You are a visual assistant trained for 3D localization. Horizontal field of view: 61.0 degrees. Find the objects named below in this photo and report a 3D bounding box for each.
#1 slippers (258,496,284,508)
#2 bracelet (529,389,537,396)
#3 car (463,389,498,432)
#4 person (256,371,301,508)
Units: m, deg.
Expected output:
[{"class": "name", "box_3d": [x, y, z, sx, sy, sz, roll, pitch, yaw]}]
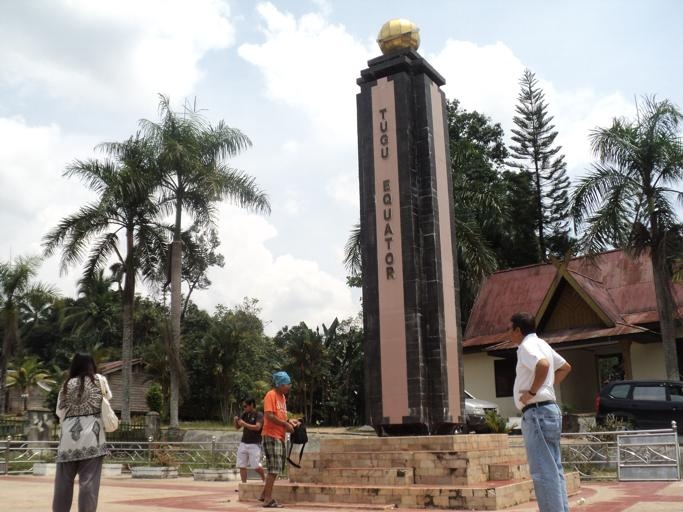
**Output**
[{"class": "slippers", "box_3d": [-1.315, 4.269, 10.134, 0.543, 0.167, 0.202, -12, -20, 40]}, {"class": "bracelet", "box_3d": [2.271, 1.627, 6.894, 0.067, 0.030, 0.070, 0, 1, -6]}, {"class": "car", "box_3d": [4.537, 5.165, 18.981, 0.888, 1.166, 1.822, -4, -15, 14]}, {"class": "person", "box_3d": [-1.080, 3.172, 9.999, 0.533, 2.229, 0.854, 4, -14, -20]}]
